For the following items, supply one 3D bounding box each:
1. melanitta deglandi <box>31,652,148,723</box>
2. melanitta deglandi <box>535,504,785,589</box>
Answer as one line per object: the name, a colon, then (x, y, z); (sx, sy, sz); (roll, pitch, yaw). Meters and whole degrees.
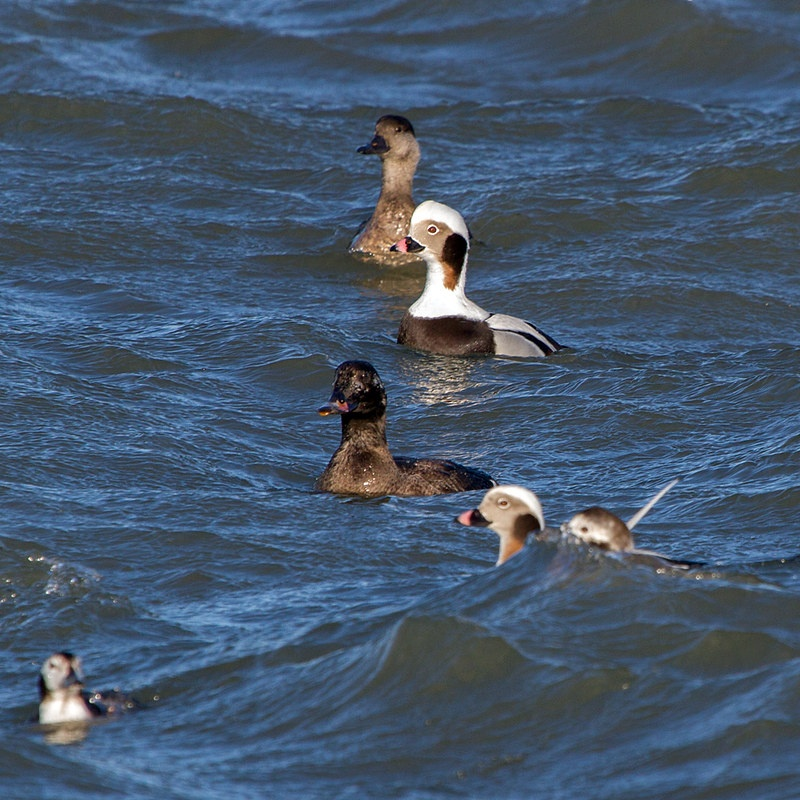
melanitta deglandi: (-1.626, 1.552, 6.236); (0.520, 0.520, 0.369); (7, 45, -10)
melanitta deglandi: (1.507, 0.864, 7.163); (0.987, 0.296, 0.579); (6, -3, 9)
